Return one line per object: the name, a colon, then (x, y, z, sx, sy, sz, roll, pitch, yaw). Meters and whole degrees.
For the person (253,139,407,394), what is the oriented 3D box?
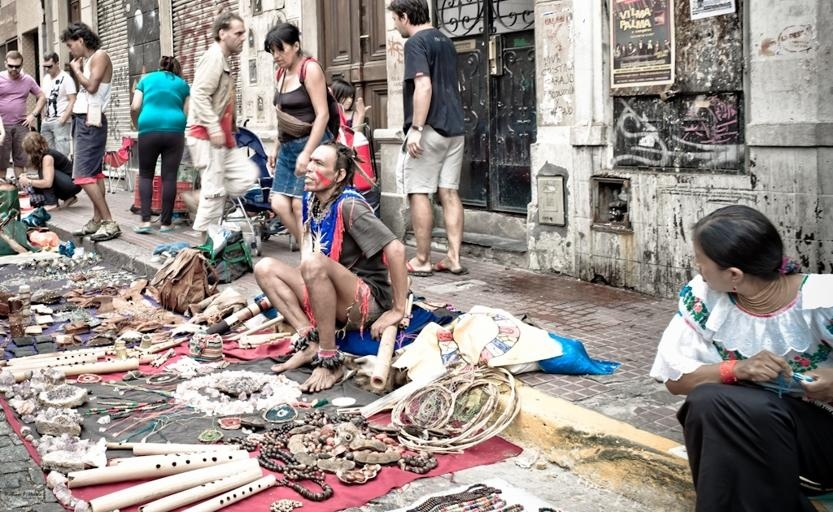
person: (-0.760, 0.058, 5.330, 1.275, 2.052, 0.894, 2, 5, 36)

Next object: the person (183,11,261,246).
person: (-2.701, -1.715, 8.368, 0.807, 2.974, 0.773, -2, 4, -15)

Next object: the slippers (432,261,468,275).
slippers: (0.425, 0.120, 7.685, 0.392, 0.160, 0.171, 7, 10, 37)

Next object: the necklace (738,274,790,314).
necklace: (1.904, 0.223, 3.373, 0.225, 0.229, 0.091, 14, -1, 2)

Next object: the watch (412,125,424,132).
watch: (0.016, -1.503, 7.234, 0.069, 0.072, 0.065, 1, 11, -30)

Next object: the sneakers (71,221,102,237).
sneakers: (-5.514, -0.456, 10.321, 0.625, 0.270, 0.234, 0, 8, 14)

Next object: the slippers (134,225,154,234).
slippers: (-4.510, -0.433, 10.146, 0.289, 0.125, 0.117, 9, 12, 30)

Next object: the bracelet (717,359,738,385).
bracelet: (1.692, 0.635, 3.352, 0.108, 0.112, 0.102, 0, 1, 24)

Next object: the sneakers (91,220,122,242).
sneakers: (-5.145, -0.403, 10.028, 0.598, 0.294, 0.246, -8, 12, -30)

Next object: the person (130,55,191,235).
person: (-4.130, -1.782, 9.893, 0.894, 2.846, 0.691, 2, 5, 29)

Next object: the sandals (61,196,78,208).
sandals: (-7.277, -1.131, 12.912, 0.442, 0.214, 0.117, -23, -10, 40)
